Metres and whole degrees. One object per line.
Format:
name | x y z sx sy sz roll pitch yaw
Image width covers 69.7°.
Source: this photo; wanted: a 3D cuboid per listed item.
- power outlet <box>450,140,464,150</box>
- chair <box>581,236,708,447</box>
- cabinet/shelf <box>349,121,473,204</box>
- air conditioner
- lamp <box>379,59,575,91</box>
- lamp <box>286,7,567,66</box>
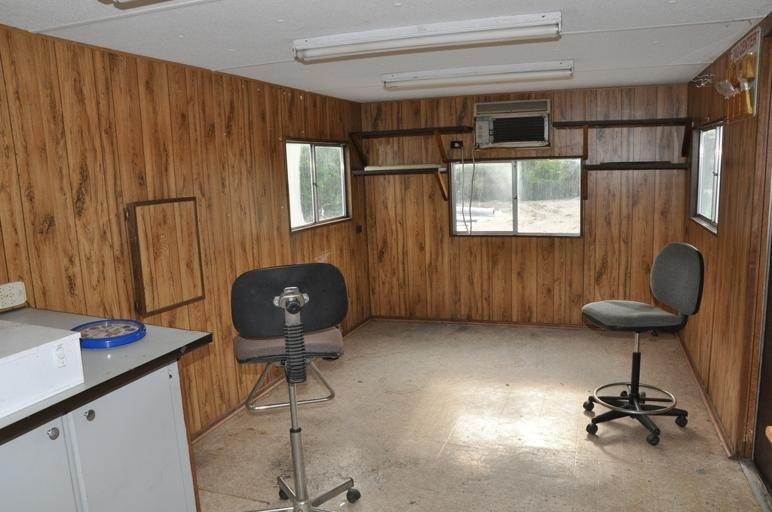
power outlet | 0.837 -1.308 6.548 0.153 0.110 0.066 1 9 30
chair | 1.988 0.637 4.339 0.867 1.406 0.839 0 7 21
cabinet/shelf | 0.344 -1.152 6.666 1.110 0.599 0.329 -1 3 10
air conditioner | 1.452 -1.482 6.298 0.871 0.493 0.542 1 4 16
lamp | 0.750 -1.581 4.825 1.247 0.218 0.094 0 4 15
lamp | 0.240 -1.416 3.624 1.723 0.153 0.149 -2 8 12
